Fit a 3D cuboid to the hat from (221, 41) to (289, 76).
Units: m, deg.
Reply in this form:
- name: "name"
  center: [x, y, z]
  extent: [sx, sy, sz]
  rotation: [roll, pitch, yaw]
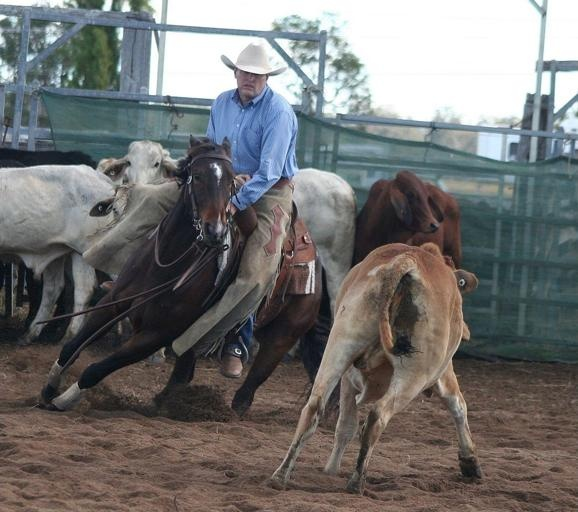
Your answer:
- name: "hat"
  center: [-0.325, -1.778, 9.212]
  extent: [0.624, 0.233, 0.645]
  rotation: [6, -4, 28]

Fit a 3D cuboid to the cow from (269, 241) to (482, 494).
- name: "cow"
  center: [0.699, 0.830, 7.580]
  extent: [1.614, 1.835, 0.780]
  rotation: [0, 11, -35]

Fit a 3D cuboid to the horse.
- name: "horse"
  center: [-0.744, 0.223, 8.780]
  extent: [2.196, 2.491, 1.313]
  rotation: [-1, 11, -38]

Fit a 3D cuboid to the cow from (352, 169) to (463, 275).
- name: "cow"
  center: [1.205, -0.351, 11.169]
  extent: [0.871, 1.123, 2.365]
  rotation: [5, 3, -8]
